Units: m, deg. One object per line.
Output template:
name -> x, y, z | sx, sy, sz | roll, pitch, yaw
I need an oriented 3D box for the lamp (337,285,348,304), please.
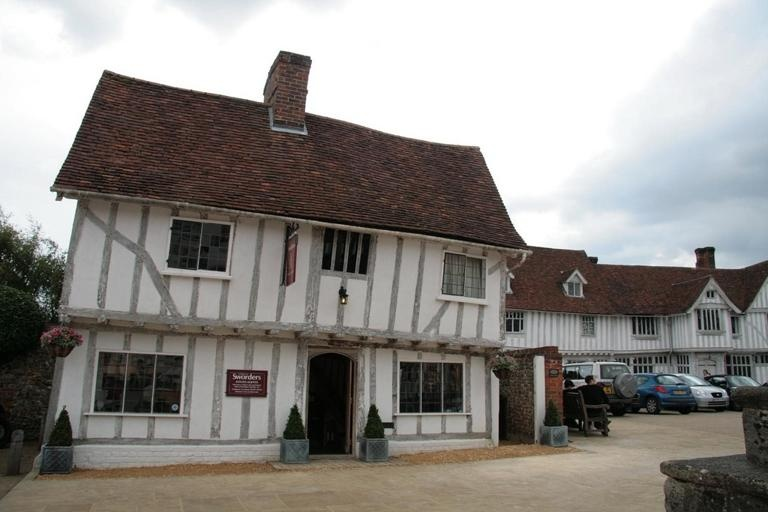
lamp -> -1.138, 1.095, 15.184 | 0.269, 0.530, 0.317 | -3, -17, 8

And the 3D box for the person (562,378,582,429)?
person -> 6.729, 4.813, 19.170 | 0.529, 0.991, 1.368 | 12, -9, 22

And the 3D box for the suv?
suv -> 9.391, 5.555, 22.931 | 2.146, 1.775, 3.719 | 3, -7, -18

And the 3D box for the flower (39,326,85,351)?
flower -> -7.896, 1.992, 13.302 | 0.744, 0.465, 0.719 | 10, -11, -35

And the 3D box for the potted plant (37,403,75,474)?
potted plant -> -7.734, 4.401, 12.923 | 0.679, 1.525, 0.450 | 8, -19, -27

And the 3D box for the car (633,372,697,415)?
car -> 12.170, 6.136, 24.210 | 1.703, 1.206, 2.815 | 2, -8, -16

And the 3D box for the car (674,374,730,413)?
car -> 14.354, 6.074, 24.011 | 1.446, 1.015, 2.732 | 3, -13, -14

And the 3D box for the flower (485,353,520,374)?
flower -> 3.677, 3.410, 17.259 | 0.799, 0.513, 0.765 | 2, -3, -19

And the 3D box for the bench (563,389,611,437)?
bench -> 7.084, 5.620, 19.078 | 1.053, 1.333, 2.593 | 0, -18, 4

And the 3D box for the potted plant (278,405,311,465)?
potted plant -> -2.449, 4.834, 14.584 | 0.933, 1.322, 0.902 | 6, -24, -43

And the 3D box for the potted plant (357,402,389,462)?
potted plant -> -0.291, 4.937, 15.095 | 0.766, 1.510, 0.424 | 0, -17, -3
